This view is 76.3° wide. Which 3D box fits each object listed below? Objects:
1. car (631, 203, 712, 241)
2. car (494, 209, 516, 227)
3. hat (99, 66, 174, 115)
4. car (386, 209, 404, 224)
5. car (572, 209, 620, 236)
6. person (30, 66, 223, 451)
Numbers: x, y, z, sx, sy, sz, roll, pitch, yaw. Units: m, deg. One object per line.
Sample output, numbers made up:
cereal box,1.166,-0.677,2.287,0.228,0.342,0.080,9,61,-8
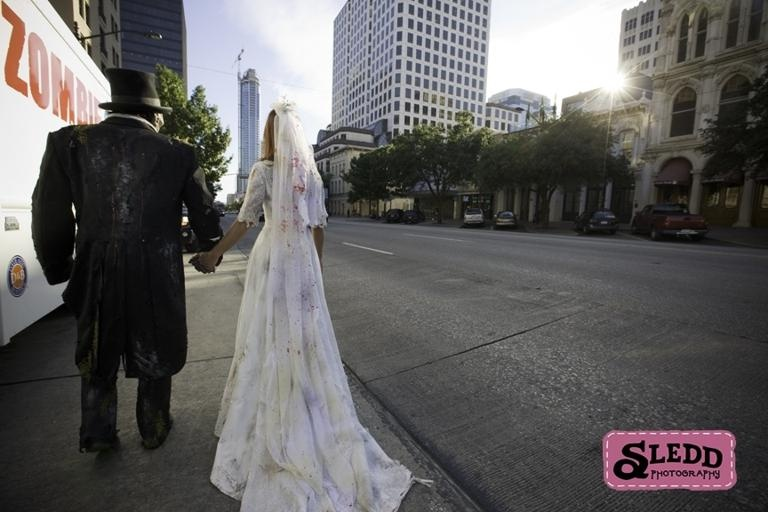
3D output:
car,12.291,-1.458,21.060,1.612,1.577,3.878,2,9,12
car,8.025,-2.362,32.141,1.222,1.032,1.512,4,9,22
hat,-2.293,-1.472,4.550,0.571,0.358,0.661,-21,12,-32
car,1.032,-3.733,45.581,0.928,0.900,1.727,3,15,21
car,11.382,-1.745,26.161,1.182,1.135,2.206,1,13,8
person,-2.294,0.043,4.337,1.472,3.334,0.508,0,7,-8
